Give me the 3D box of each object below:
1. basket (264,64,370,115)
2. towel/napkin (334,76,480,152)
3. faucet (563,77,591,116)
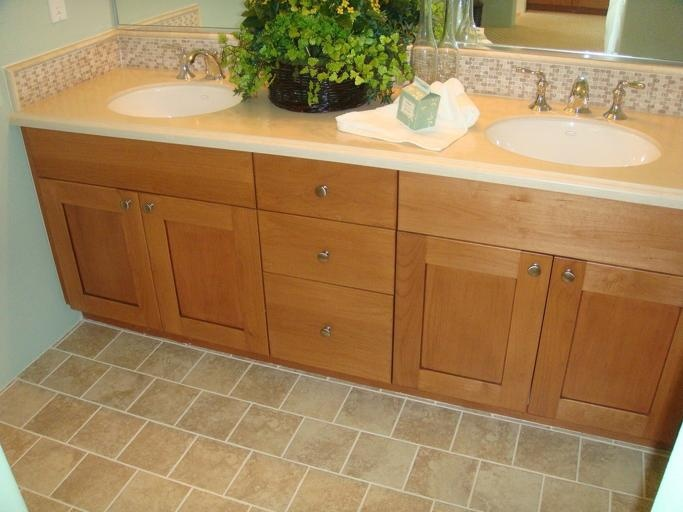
[{"bbox_3d":[-0.090,-0.609,1.959,0.233,0.083,0.203,9,32,11],"label":"basket"},{"bbox_3d":[0.271,-0.465,1.809,0.353,0.102,0.350,-34,52,-28],"label":"towel/napkin"},{"bbox_3d":[0.864,-0.583,1.922,0.099,0.108,0.099,-36,47,-30],"label":"faucet"}]
